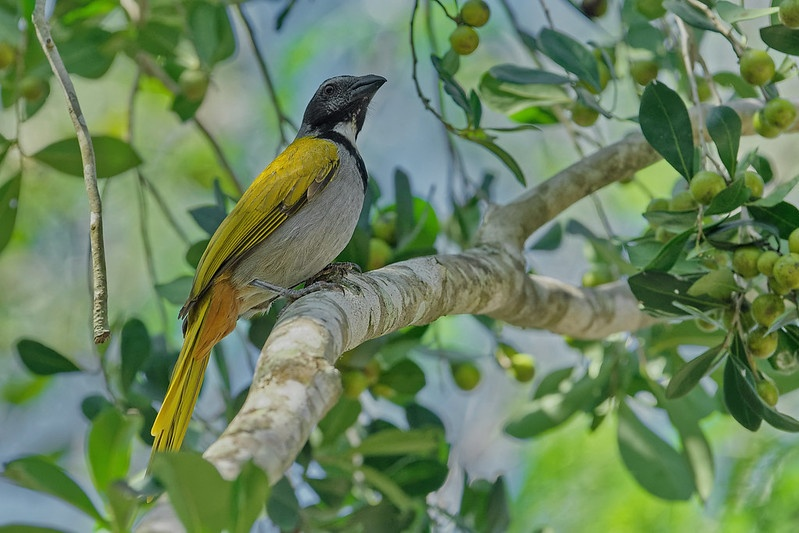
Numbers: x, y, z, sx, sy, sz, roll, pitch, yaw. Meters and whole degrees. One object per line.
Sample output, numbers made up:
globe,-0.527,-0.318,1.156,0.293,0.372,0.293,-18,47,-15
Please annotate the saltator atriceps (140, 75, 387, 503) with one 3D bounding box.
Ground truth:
saltator atriceps,-0.782,-0.072,6.176,1.097,2.822,1.443,1,-1,-2
